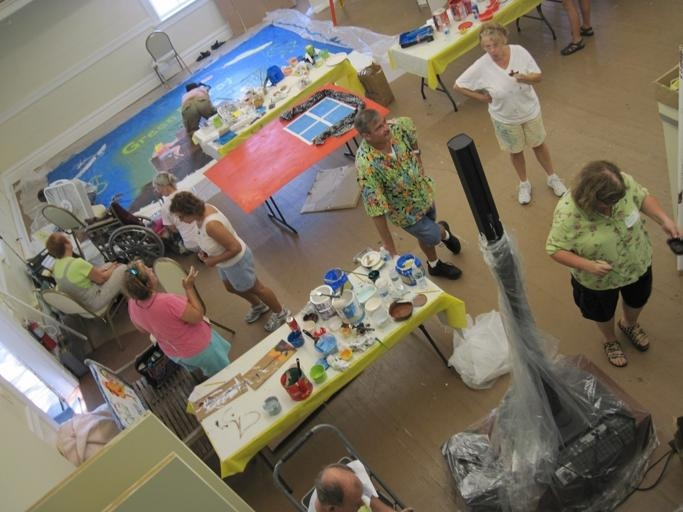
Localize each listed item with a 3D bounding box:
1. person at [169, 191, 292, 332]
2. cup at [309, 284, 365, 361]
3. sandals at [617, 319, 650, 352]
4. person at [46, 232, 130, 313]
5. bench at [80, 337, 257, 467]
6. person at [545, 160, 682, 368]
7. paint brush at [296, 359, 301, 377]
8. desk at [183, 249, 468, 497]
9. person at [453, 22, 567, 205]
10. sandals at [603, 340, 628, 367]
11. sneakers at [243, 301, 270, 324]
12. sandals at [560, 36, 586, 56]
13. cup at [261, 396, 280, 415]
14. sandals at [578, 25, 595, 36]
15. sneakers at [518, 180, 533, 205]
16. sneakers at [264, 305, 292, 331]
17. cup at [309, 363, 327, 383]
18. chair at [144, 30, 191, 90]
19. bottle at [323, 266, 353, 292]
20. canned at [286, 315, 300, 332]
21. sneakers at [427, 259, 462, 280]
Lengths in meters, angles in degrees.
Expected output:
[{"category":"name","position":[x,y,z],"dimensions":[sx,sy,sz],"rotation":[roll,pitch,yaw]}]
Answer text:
[{"category":"person","position":[-1.357,0.115,6.573],"dimensions":[0.522,1.843,0.669],"rotation":[-36,53,-3]},{"category":"cup","position":[-0.065,0.588,5.082],"dimensions":[0.507,0.520,0.307],"rotation":[20,60,38]},{"category":"sandals","position":[2.800,0.754,5.053],"dimensions":[0.145,0.151,0.384],"rotation":[-40,57,5]},{"category":"person","position":[-3.330,0.231,7.035],"dimensions":[0.443,1.142,0.813],"rotation":[10,62,27]},{"category":"bench","position":[-1.892,1.500,5.937],"dimensions":[1.253,0.322,1.299],"rotation":[34,59,13]},{"category":"person","position":[2.345,0.103,4.647],"dimensions":[0.995,2.015,0.473],"rotation":[-29,32,-2]},{"category":"paint brush","position":[-0.380,1.003,4.796],"dimensions":[0.035,0.150,0.020],"rotation":[-19,27,-14]},{"category":"desk","position":[-0.391,1.780,6.146],"dimensions":[3.380,0.838,1.662],"rotation":[-41,52,-8]},{"category":"person","position":[1.971,-1.574,6.158],"dimensions":[0.838,2.016,0.753],"rotation":[-16,34,17]},{"category":"sandals","position":[2.585,0.909,5.072],"dimensions":[0.118,0.125,0.319],"rotation":[-25,42,10]},{"category":"sneakers","position":[-1.068,0.714,6.750],"dimensions":[0.340,0.209,0.163],"rotation":[-45,62,2]},{"category":"sandals","position":[3.410,-3.050,7.904],"dimensions":[0.368,0.150,0.186],"rotation":[-26,56,18]},{"category":"cup","position":[-0.620,1.336,4.787],"dimensions":[0.161,0.098,0.155],"rotation":[-21,35,15]},{"category":"sandals","position":[3.656,-3.331,7.932],"dimensions":[0.254,0.124,0.116],"rotation":[27,70,28]},{"category":"sneakers","position":[2.220,-0.768,6.456],"dimensions":[0.116,0.142,0.328],"rotation":[-2,43,24]},{"category":"sneakers","position":[-0.734,0.713,6.213],"dimensions":[0.292,0.126,0.117],"rotation":[-43,54,8]},{"category":"cup","position":[-0.216,1.052,4.819],"dimensions":[0.149,0.107,0.146],"rotation":[-9,62,18]},{"category":"chair","position":[-4.296,-4.819,12.875],"dimensions":[0.796,1.155,0.397],"rotation":[-34,33,-9]},{"category":"bottle","position":[-0.034,0.231,5.207],"dimensions":[0.201,0.213,0.217],"rotation":[-1,34,31]},{"category":"canned","position":[-0.472,0.655,5.190],"dimensions":[0.077,0.138,0.077],"rotation":[-31,31,-11]},{"category":"sneakers","position":[1.196,0.151,6.203],"dimensions":[0.443,0.196,0.182],"rotation":[10,56,20]}]
